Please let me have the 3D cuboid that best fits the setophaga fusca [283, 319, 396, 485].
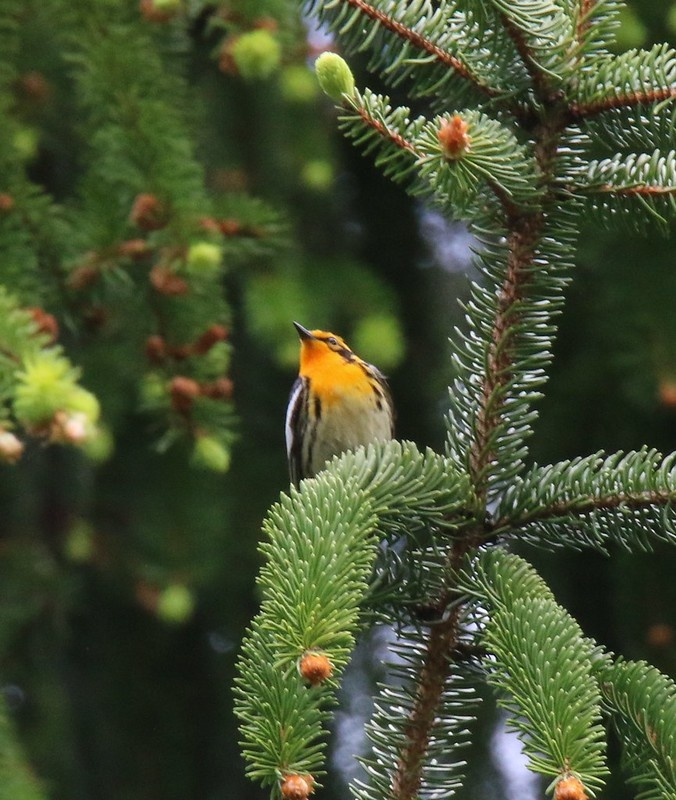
[{"bbox_3d":[0.031,0.042,4.429,0.273,0.437,0.577,-13,-18,13],"label":"setophaga fusca"}]
